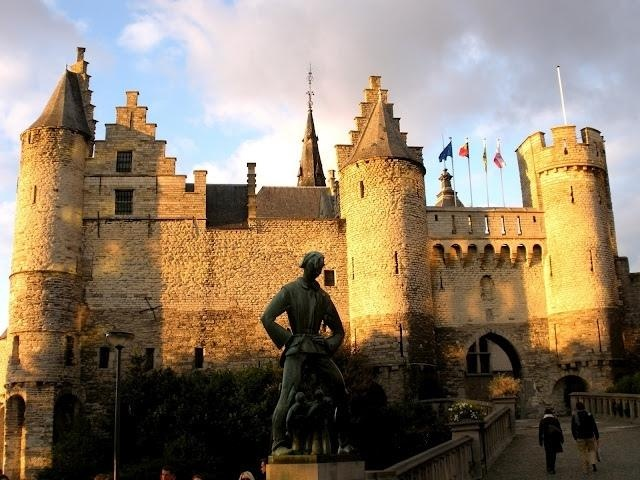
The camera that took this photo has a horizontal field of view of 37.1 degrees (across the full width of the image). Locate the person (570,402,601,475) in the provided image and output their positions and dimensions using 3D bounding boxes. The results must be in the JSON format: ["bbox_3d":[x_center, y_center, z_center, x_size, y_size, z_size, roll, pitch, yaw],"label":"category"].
[{"bbox_3d":[8.898,6.592,31.807,0.809,2.226,1.539,-5,-11,14],"label":"person"}]
